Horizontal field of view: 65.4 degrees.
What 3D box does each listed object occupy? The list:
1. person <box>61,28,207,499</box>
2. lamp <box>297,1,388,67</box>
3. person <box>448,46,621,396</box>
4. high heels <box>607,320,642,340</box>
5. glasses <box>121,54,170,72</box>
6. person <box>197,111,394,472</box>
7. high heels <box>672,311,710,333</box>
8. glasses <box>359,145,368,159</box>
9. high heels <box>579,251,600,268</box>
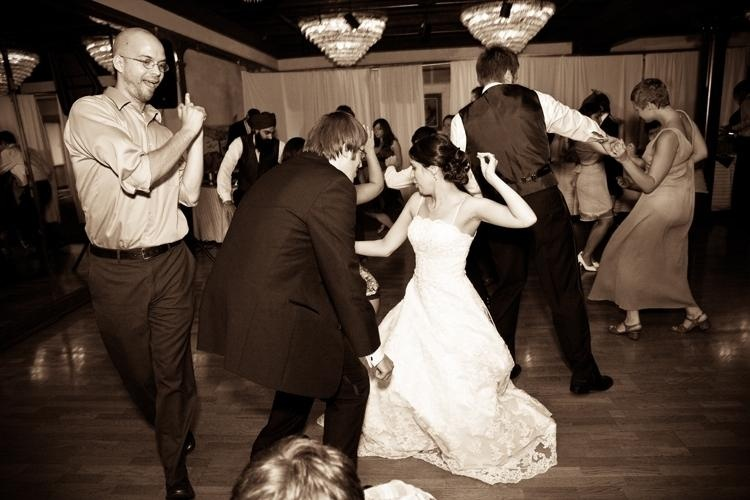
[{"bbox_3d":[-1.466,0.106,3.865,0.772,3.006,0.624,5,14,28],"label":"person"},{"bbox_3d":[-0.439,-3.155,8.610,1.177,0.713,1.023,6,16,31],"label":"lamp"},{"bbox_3d":[1.264,-0.350,4.759,1.146,2.653,0.789,-4,17,19],"label":"person"},{"bbox_3d":[2.332,0.746,5.464,0.136,0.159,0.281,-8,12,-32],"label":"high heels"},{"bbox_3d":[-1.440,-1.171,3.678,0.279,0.105,0.110,-8,15,-24],"label":"glasses"},{"bbox_3d":[-0.453,0.323,3.477,1.048,2.191,0.507,-5,13,-15],"label":"person"},{"bbox_3d":[2.940,0.675,5.488,0.344,0.192,0.158,-7,6,10],"label":"high heels"},{"bbox_3d":[-0.075,-0.598,3.588,0.021,0.070,0.068,0,19,14],"label":"glasses"},{"bbox_3d":[2.615,0.123,7.147,0.376,0.170,0.136,9,10,31],"label":"high heels"}]
